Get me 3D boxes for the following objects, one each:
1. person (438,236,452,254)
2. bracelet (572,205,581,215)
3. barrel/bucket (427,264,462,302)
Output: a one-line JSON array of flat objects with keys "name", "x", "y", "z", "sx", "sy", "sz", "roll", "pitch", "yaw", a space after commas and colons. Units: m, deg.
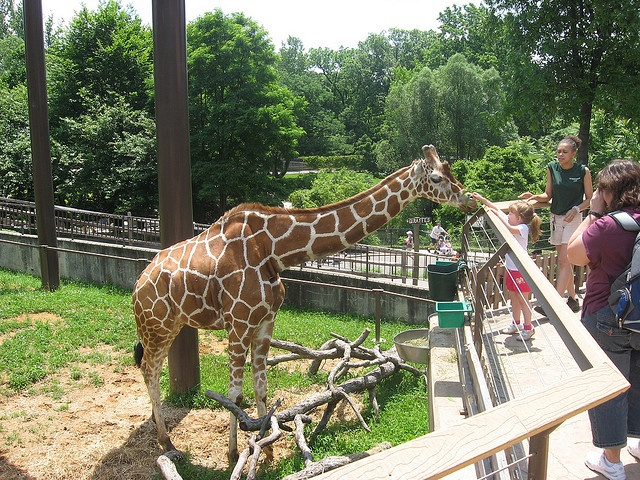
[{"name": "person", "x": 5.392, "y": 0.187, "z": 24.663, "sx": 0.903, "sy": 0.634, "sz": 0.552, "roll": -7, "pitch": 11, "yaw": -38}, {"name": "bracelet", "x": 3.801, "y": -0.463, "z": 8.464, "sx": 0.125, "sy": 0.078, "sz": 0.119, "roll": 51, "pitch": -16, "yaw": -31}, {"name": "barrel/bucket", "x": 2.012, "y": 0.669, "z": 9.227, "sx": 0.436, "sy": 0.579, "sz": 0.595, "roll": 0, "pitch": -1, "yaw": 7}]
